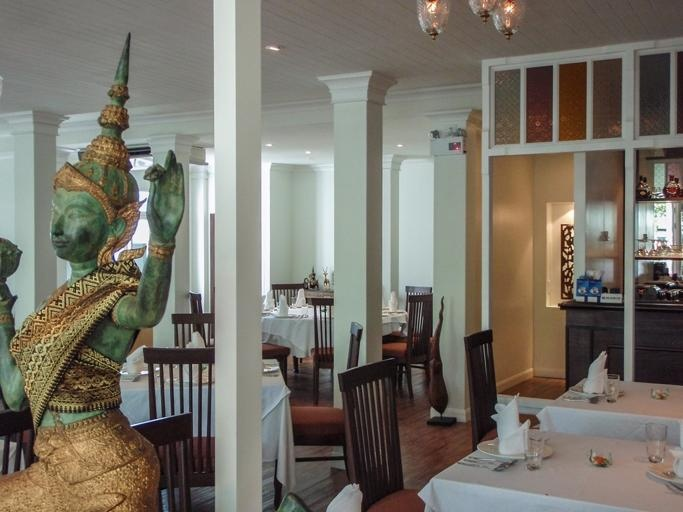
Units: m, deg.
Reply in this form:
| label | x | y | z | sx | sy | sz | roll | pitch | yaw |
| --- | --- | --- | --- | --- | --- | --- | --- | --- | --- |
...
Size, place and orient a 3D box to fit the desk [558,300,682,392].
| label | x | y | z | sx | sy | sz | roll | pitch | yaw |
| --- | --- | --- | --- | --- | --- | --- | --- | --- | --- |
| desk | 2.378 | 0.748 | 4.681 | 0.736 | 0.761 | 0.326 | 0 | 2 | 28 |

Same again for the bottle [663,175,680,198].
| label | x | y | z | sx | sy | sz | roll | pitch | yaw |
| --- | --- | --- | --- | --- | --- | --- | --- | --- | --- |
| bottle | 3.332 | -0.698 | 5.622 | 0.145 | 0.294 | 0.681 | -2 | 0 | 32 |

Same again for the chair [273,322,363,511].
| label | x | y | z | sx | sy | sz | roll | pitch | yaw |
| --- | --- | --- | --- | --- | --- | --- | --- | --- | --- |
| chair | -0.097 | 1.190 | 4.873 | 0.968 | 1.860 | 0.958 | 2 | -5 | -1 |

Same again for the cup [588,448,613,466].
| label | x | y | z | sx | sy | sz | roll | pitch | yaw |
| --- | --- | --- | --- | --- | --- | --- | --- | --- | --- |
| cup | 1.142 | 0.897 | 2.457 | 0.079 | 0.047 | 0.070 | 6 | 4 | 16 |

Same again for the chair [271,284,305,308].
| label | x | y | z | sx | sy | sz | roll | pitch | yaw |
| --- | --- | --- | --- | --- | --- | --- | --- | --- | --- |
| chair | -1.021 | 0.739 | 10.707 | 0.448 | 0.690 | 0.455 | 0 | -7 | -2 |

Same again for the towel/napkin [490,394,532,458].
| label | x | y | z | sx | sy | sz | roll | pitch | yaw |
| --- | --- | --- | --- | --- | --- | --- | --- | --- | --- |
| towel/napkin | 0.801 | 0.807 | 2.635 | 0.180 | 0.265 | 0.226 | -2 | -6 | 19 |

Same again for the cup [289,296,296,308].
| label | x | y | z | sx | sy | sz | roll | pitch | yaw |
| --- | --- | --- | --- | --- | --- | --- | --- | --- | --- |
| cup | -0.858 | 0.804 | 9.627 | 0.127 | 0.163 | 0.136 | 2 | -6 | 0 |

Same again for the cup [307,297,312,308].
| label | x | y | z | sx | sy | sz | roll | pitch | yaw |
| --- | --- | --- | --- | --- | --- | --- | --- | --- | --- |
| cup | -0.583 | 0.832 | 9.992 | 0.110 | 0.231 | 0.118 | 0 | -4 | 0 |

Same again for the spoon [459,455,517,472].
| label | x | y | z | sx | sy | sz | roll | pitch | yaw |
| --- | --- | --- | --- | --- | --- | --- | --- | --- | --- |
| spoon | 0.641 | 0.917 | 2.470 | 0.145 | 0.034 | 0.082 | 4 | 8 | 39 |

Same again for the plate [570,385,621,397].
| label | x | y | z | sx | sy | sz | roll | pitch | yaw |
| --- | --- | --- | --- | --- | --- | --- | --- | --- | --- |
| plate | 1.555 | 0.849 | 3.504 | 0.162 | 0.031 | 0.128 | -1 | -2 | 7 |

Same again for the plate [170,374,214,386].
| label | x | y | z | sx | sy | sz | roll | pitch | yaw |
| --- | --- | --- | --- | --- | --- | --- | --- | --- | --- |
| plate | -0.949 | 0.793 | 3.562 | 0.202 | 0.056 | 0.228 | 0 | -4 | -1 |
